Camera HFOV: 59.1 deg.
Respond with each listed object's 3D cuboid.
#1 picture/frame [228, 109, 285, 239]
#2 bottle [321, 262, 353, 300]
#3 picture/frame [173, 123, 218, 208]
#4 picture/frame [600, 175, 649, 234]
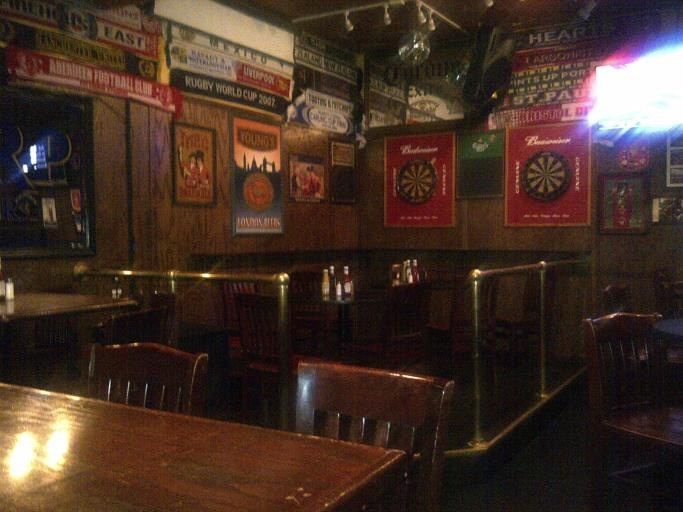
[{"bbox_3d":[-0.941,-0.880,6.741,0.123,1.271,0.877,7,9,33],"label":"picture/frame"},{"bbox_3d":[-0.069,0.247,6.053,0.287,0.456,0.149,0,-3,-9],"label":"bottle"},{"bbox_3d":[-1.480,-0.901,5.971,0.087,0.956,0.759,2,5,31],"label":"picture/frame"},{"bbox_3d":[3.234,-0.586,6.837,0.584,0.886,0.084,1,2,38],"label":"picture/frame"}]
